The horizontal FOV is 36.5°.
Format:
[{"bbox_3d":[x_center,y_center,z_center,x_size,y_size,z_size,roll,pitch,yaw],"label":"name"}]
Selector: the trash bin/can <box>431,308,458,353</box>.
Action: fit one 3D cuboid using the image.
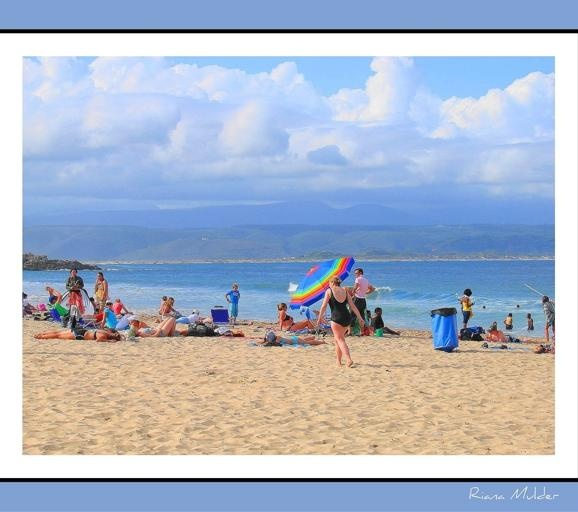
[{"bbox_3d":[3.099,1.451,17.473,0.540,0.909,0.629,2,5,9],"label":"trash bin/can"}]
